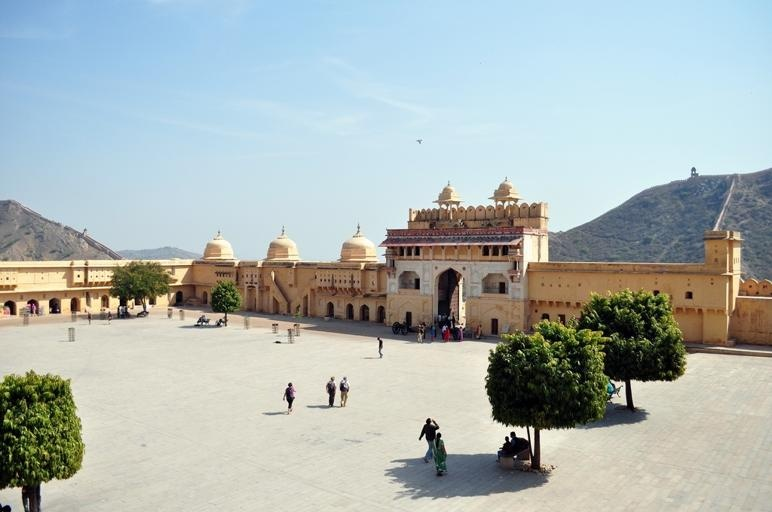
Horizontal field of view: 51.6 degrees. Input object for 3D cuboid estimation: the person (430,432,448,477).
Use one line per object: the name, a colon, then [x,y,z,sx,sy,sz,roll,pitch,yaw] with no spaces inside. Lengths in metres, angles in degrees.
person: [2.215,8.099,32.540,0.528,1.543,0.884,0,12,5]
